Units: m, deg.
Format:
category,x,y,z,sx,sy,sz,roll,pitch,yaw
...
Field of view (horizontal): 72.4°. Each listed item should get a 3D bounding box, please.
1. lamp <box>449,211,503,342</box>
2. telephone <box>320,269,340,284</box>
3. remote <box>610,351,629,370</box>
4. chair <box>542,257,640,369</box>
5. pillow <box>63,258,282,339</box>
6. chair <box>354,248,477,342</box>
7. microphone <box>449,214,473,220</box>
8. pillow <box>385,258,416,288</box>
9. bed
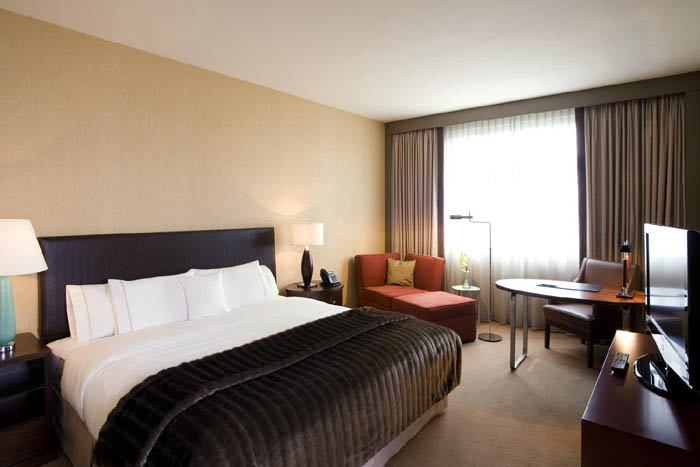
category,x,y,z,sx,sy,sz,roll,pitch,yaw
lamp,1.725,0.576,6.706,0.805,1.771,0.399,5,-16,0
telephone,-0.305,0.578,6.361,0.142,0.097,0.258,-2,7,-35
remote,1.998,0.970,3.604,0.073,0.041,0.178,3,11,33
chair,2.787,0.918,5.755,0.660,1.162,0.763,-1,7,-13
pillow,-1.801,0.686,4.961,1.908,0.533,0.442,-3,1,-36
chair,0.857,0.912,6.779,0.905,1.149,1.768,-1,4,-26
microphone,1.548,-0.227,6.787,0.249,0.084,0.757,-3,0,18
pillow,0.723,0.614,7.123,0.391,0.401,0.150,0,-37,12
bed,-1.038,1.023,4.353,1.962,1.317,2.000,-2,-2,41
